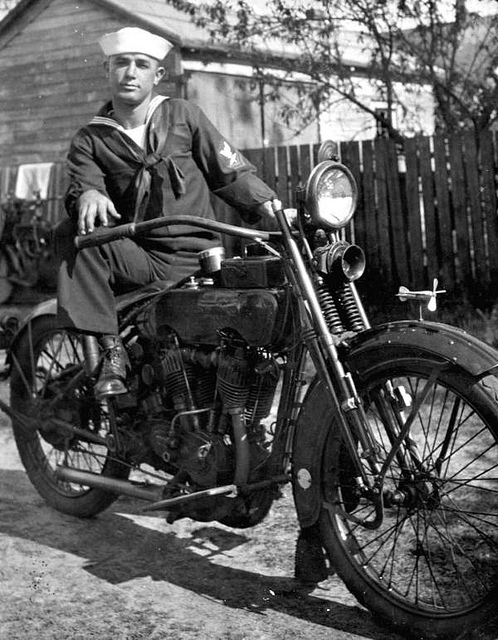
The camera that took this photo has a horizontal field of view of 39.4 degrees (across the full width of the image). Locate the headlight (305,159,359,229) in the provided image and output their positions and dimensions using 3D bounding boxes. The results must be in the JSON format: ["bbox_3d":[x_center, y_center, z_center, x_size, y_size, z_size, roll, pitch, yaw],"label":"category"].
[{"bbox_3d":[0.259,-0.384,2.147,0.109,0.210,0.258,0,3,40],"label":"headlight"}]

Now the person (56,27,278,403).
[{"bbox_3d":[-0.412,-0.515,2.885,0.893,1.387,0.875,-11,9,-31],"label":"person"}]

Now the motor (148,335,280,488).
[{"bbox_3d":[-0.126,0.325,2.485,0.568,0.573,0.345,8,5,41],"label":"motor"}]

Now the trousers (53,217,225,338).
[{"bbox_3d":[-0.501,-0.186,2.830,0.698,0.429,0.433,-2,10,-17],"label":"trousers"}]
